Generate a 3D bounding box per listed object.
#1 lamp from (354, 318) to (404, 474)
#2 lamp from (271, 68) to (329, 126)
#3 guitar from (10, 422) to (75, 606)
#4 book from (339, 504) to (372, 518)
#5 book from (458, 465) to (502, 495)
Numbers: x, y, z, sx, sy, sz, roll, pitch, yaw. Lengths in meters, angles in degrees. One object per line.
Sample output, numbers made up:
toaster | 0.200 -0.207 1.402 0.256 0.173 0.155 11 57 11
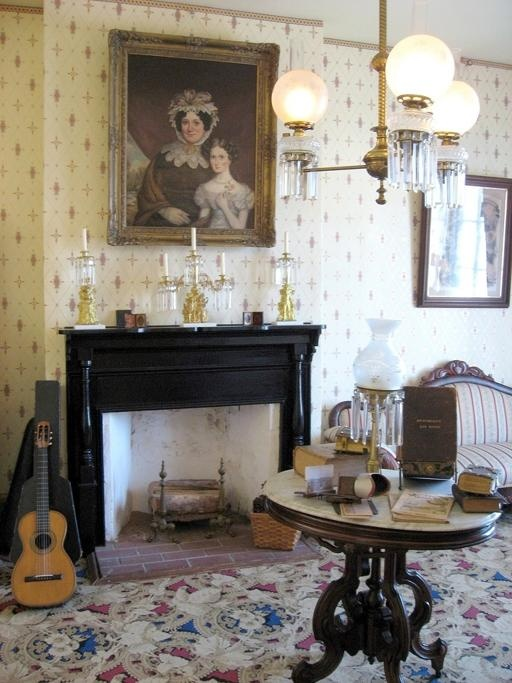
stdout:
lamp | 0.450 0.160 2.362 0.180 0.478 0.130 3 4 27
lamp | 0.158 -0.883 2.325 0.191 0.214 0.176 3 1 -1
guitar | -1.108 0.893 3.246 0.286 0.839 0.343 -1 4 -27
book | 0.336 0.573 2.146 0.106 0.008 0.147 1 3 6
book | 0.782 0.477 2.228 0.101 0.036 0.098 0 7 22
